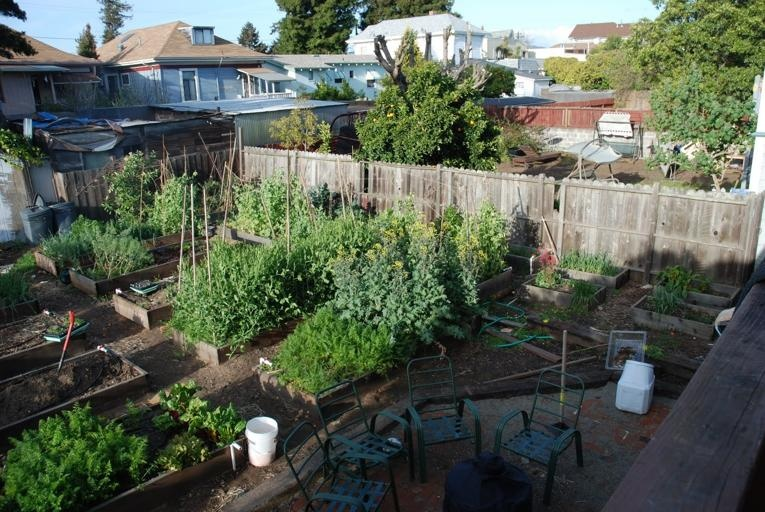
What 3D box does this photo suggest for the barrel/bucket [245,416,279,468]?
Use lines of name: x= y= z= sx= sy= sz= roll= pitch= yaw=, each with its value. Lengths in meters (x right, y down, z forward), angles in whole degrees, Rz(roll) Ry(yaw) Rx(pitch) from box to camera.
barrel/bucket: x=-1.501 y=2.404 z=6.956 sx=0.531 sy=0.538 sz=0.539 roll=0 pitch=21 yaw=0

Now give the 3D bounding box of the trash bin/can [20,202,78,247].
trash bin/can: x=-8.615 y=-0.920 z=13.914 sx=1.130 sy=1.117 sz=1.480 roll=13 pitch=21 yaw=40

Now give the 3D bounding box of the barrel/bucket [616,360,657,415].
barrel/bucket: x=3.467 y=1.832 z=7.299 sx=0.486 sy=0.732 sz=0.698 roll=7 pitch=28 yaw=26
